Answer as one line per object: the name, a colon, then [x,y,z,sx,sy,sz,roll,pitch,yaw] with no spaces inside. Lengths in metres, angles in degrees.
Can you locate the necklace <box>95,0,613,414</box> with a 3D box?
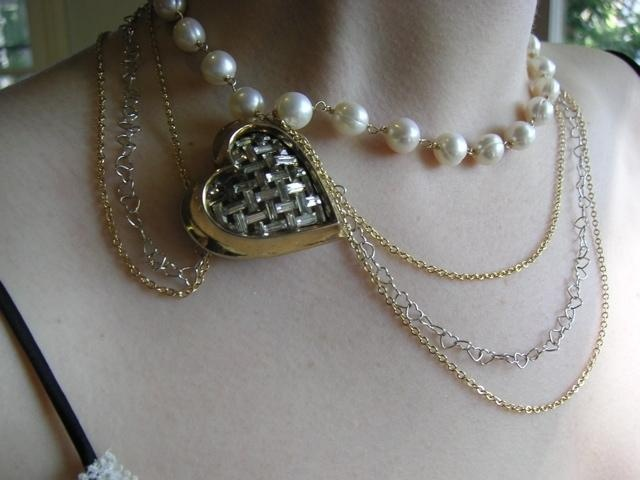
necklace: [0.006,-0.075,0.935,0.717,0.661,0.240,4,-29,-16]
